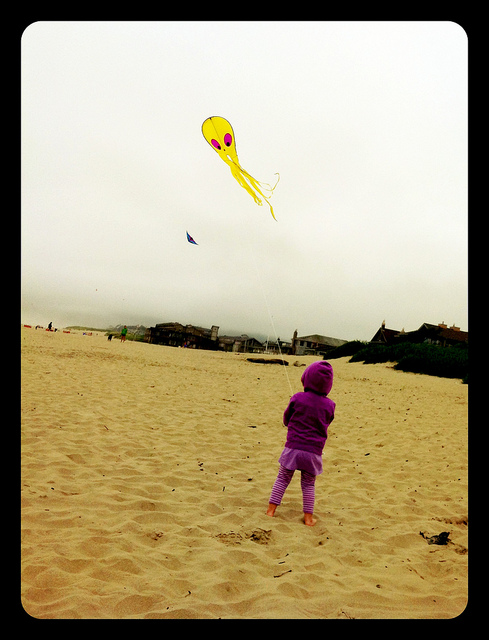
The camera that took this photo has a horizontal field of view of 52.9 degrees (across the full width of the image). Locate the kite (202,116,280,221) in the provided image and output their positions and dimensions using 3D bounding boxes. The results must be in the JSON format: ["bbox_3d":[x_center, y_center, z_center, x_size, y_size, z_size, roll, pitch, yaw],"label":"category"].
[{"bbox_3d":[-0.097,-1.078,3.257,0.390,0.487,0.734,5,-3,-8],"label":"kite"}]

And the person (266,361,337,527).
[{"bbox_3d":[0.566,1.062,4.808,0.564,1.364,1.551,4,-3,7],"label":"person"}]
